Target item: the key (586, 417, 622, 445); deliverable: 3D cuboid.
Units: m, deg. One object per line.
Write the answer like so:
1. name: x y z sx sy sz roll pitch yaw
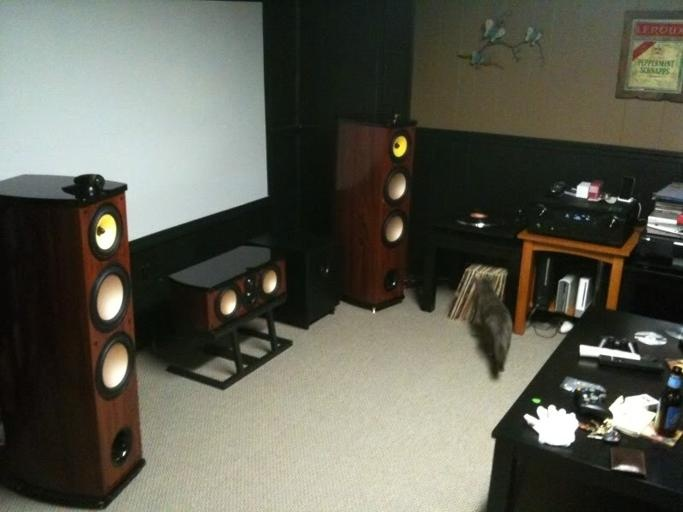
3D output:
1. key: 0.976 0.647 2.055 0.068 0.018 0.069 19 39 38

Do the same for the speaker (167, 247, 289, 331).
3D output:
1. speaker: -0.613 0.167 3.090 0.319 0.260 0.637 17 27 34

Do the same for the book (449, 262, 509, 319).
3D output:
1. book: 0.900 0.254 3.625 0.279 0.381 0.117 0 14 -21

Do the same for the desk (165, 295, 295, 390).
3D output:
1. desk: -0.607 0.526 3.253 0.405 0.339 0.645 11 24 26

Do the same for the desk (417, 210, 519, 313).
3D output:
1. desk: 0.894 0.022 3.897 0.597 0.646 0.635 16 39 23

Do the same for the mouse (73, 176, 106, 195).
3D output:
1. mouse: -0.917 -0.262 2.025 0.082 0.042 0.088 10 25 18

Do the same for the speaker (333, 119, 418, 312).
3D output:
1. speaker: 0.207 -0.254 3.702 0.499 1.235 0.288 2 21 3
